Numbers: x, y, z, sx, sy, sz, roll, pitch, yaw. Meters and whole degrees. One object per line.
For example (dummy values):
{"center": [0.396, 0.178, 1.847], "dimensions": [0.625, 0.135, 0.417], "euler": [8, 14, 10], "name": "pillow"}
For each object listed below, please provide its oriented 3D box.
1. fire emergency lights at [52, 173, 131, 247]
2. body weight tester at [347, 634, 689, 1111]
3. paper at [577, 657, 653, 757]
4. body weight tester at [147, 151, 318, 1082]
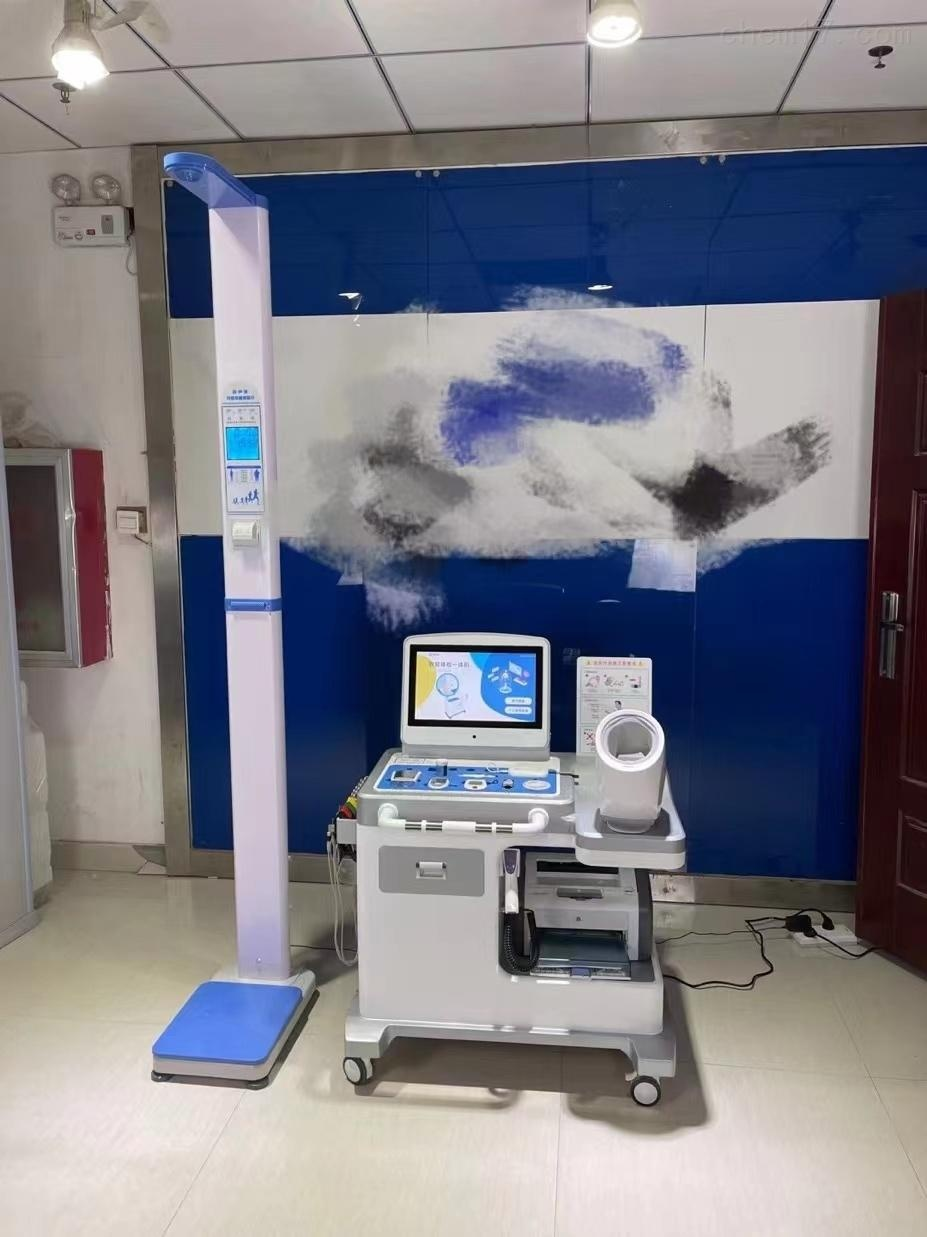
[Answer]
{"center": [-1.352, -1.479, 3.749], "dimensions": [0.311, 0.257, 0.068], "euler": [2, 10, 14], "name": "fire emergency lights"}
{"center": [0.160, 0.634, 2.961], "dimensions": [0.864, 1.050, 0.838], "euler": [1, 10, 7], "name": "body weight tester"}
{"center": [0.479, 0.248, 3.264], "dimensions": [0.233, 0.303, 0.183], "euler": [3, 10, 4], "name": "paper"}
{"center": [-0.616, 0.044, 2.810], "dimensions": [0.410, 2.363, 0.516], "euler": [2, 9, 3], "name": "body weight tester"}
